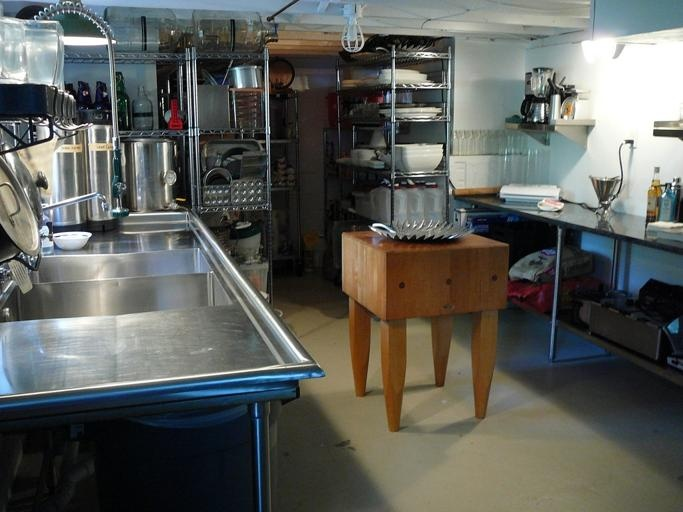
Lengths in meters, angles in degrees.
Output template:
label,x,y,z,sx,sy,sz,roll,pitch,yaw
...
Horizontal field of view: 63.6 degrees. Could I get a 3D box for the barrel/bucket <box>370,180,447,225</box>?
label,x,y,z,sx,sy,sz,roll,pitch,yaw
barrel/bucket,0.644,-0.494,5.228,0.587,0.371,0.616,-1,14,0

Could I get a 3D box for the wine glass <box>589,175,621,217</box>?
label,x,y,z,sx,sy,sz,roll,pitch,yaw
wine glass,1.966,-0.453,4.135,0.295,0.280,0.282,4,11,17

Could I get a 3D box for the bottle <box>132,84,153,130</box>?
label,x,y,z,sx,sy,sz,roll,pitch,yaw
bottle,-1.453,-1.082,4.034,0.143,0.316,0.157,-13,19,-38

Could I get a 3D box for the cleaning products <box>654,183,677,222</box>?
label,x,y,z,sx,sy,sz,roll,pitch,yaw
cleaning products,2.136,-0.344,3.596,0.107,0.249,0.207,6,16,24

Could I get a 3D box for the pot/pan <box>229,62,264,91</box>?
label,x,y,z,sx,sy,sz,roll,pitch,yaw
pot/pan,-0.723,-1.380,4.225,0.218,0.128,0.214,-1,12,-5

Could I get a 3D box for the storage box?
label,x,y,z,sx,sy,sz,roll,pitch,yaw
storage box,1.738,0.406,3.245,0.269,0.141,0.374,-8,16,-23

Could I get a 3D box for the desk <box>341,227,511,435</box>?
label,x,y,z,sx,sy,sz,roll,pitch,yaw
desk,0.405,0.342,3.615,1.131,1.352,1.086,-1,8,-3

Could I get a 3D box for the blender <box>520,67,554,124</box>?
label,x,y,z,sx,sy,sz,roll,pitch,yaw
blender,1.637,-1.337,4.600,0.289,0.439,0.285,12,19,41

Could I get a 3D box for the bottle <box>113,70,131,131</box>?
label,x,y,z,sx,sy,sz,roll,pitch,yaw
bottle,-1.576,-1.123,3.972,0.082,0.422,0.440,-6,15,-18

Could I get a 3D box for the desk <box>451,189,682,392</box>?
label,x,y,z,sx,sy,sz,roll,pitch,yaw
desk,1.566,0.260,3.746,0.319,0.656,1.355,-2,12,-9

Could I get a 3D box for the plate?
label,x,y,z,sx,sy,sz,roll,pitch,yaw
plate,0.533,-1.315,5.300,0.451,1.229,1.277,-1,10,-16
